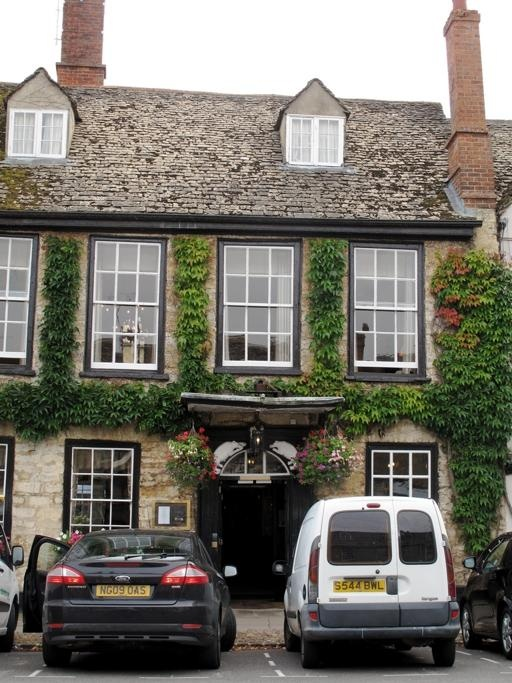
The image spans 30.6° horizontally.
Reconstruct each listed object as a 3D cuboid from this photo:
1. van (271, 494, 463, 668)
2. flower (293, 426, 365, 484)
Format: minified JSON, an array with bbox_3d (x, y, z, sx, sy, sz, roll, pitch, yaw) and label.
[{"bbox_3d":[1.122,2.593,10.080,1.515,1.515,3.082,0,-13,-2],"label":"van"},{"bbox_3d":[1.034,1.722,14.752,0.873,0.653,0.866,0,14,-13],"label":"flower"}]
